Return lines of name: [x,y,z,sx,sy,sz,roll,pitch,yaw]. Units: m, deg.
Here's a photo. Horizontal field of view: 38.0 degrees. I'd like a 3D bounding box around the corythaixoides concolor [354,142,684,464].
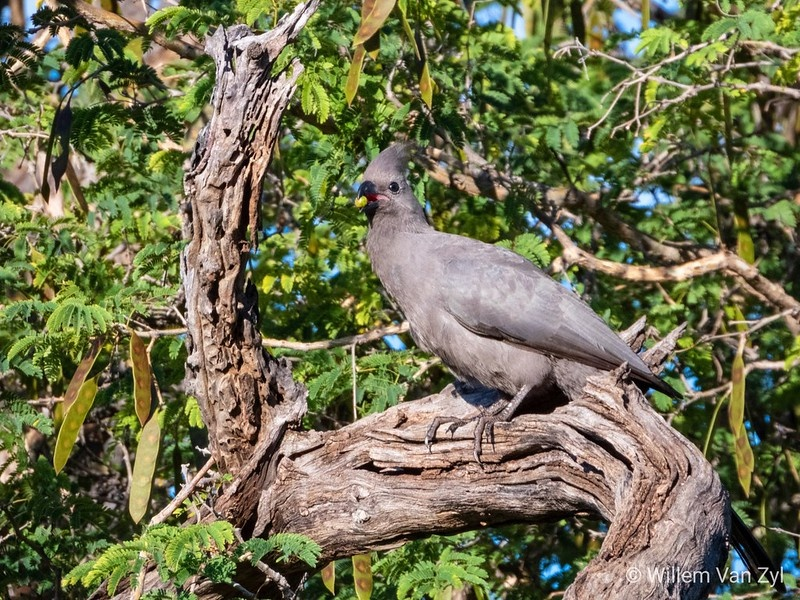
corythaixoides concolor: [0.646,-0.055,7.601,2.052,1.882,0.866,1,-7,-14]
